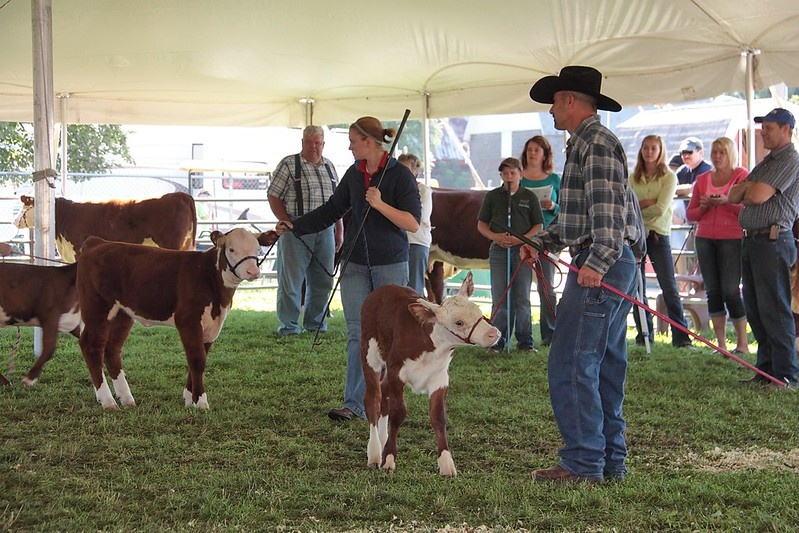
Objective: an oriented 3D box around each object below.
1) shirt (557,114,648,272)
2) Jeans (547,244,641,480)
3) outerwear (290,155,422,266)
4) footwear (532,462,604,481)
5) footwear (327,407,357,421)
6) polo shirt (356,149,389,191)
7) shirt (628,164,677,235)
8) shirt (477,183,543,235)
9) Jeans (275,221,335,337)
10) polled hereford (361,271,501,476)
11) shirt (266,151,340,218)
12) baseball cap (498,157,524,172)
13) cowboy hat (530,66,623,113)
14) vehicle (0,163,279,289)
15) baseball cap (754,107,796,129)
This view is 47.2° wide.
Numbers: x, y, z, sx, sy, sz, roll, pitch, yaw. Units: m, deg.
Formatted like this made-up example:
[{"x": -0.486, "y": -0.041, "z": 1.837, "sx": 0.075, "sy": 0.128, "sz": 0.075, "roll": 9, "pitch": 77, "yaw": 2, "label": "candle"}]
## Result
[{"x": 1.748, "y": -0.694, "z": 8.158, "sx": 0.718, "sy": 1.181, "sz": 1.320, "roll": -6, "pitch": 10, "yaw": -2, "label": "shirt"}, {"x": 1.639, "y": 0.941, "z": 7.894, "sx": 0.705, "sy": 1.729, "sz": 0.579, "roll": 2, "pitch": 13, "yaw": 9, "label": "Jeans"}, {"x": -0.358, "y": -0.564, "z": 9.073, "sx": 1.415, "sy": 1.081, "sz": 0.739, "roll": 3, "pitch": 8, "yaw": 23, "label": "outerwear"}, {"x": 1.447, "y": 1.715, "z": 7.860, "sx": 0.572, "sy": 0.165, "sz": 0.206, "roll": 2, "pitch": -10, "yaw": 15, "label": "footwear"}, {"x": -0.560, "y": 1.442, "z": 9.062, "sx": 0.244, "sy": 0.106, "sz": 0.121, "roll": 14, "pitch": -11, "yaw": -14, "label": "footwear"}, {"x": -0.261, "y": -0.935, "z": 8.848, "sx": 0.370, "sy": 0.331, "sz": 0.119, "roll": 9, "pitch": 15, "yaw": 34, "label": "polo shirt"}, {"x": 3.205, "y": -0.820, "z": 11.671, "sx": 0.513, "sy": 0.892, "sz": 0.673, "roll": -5, "pitch": 10, "yaw": -40, "label": "shirt"}, {"x": 1.375, "y": -0.687, "z": 11.072, "sx": 0.770, "sy": 0.592, "sz": 0.367, "roll": 0, "pitch": -4, "yaw": 9, "label": "shirt"}, {"x": -1.254, "y": 0.099, "z": 12.524, "sx": 0.775, "sy": 1.733, "sz": 0.522, "roll": -9, "pitch": 28, "yaw": -27, "label": "Jeans"}, {"x": 0.177, "y": 0.999, "z": 8.249, "sx": 1.249, "sy": 1.513, "sz": 0.826, "roll": 3, "pitch": 13, "yaw": 11, "label": "polled hereford"}, {"x": -1.193, "y": -1.003, "z": 12.201, "sx": 1.061, "sy": 0.980, "sz": 0.586, "roll": -1, "pitch": 4, "yaw": -38, "label": "shirt"}, {"x": 1.348, "y": -1.230, "z": 11.113, "sx": 0.251, "sy": 0.173, "sz": 0.344, "roll": 5, "pitch": 13, "yaw": 21, "label": "baseball cap"}, {"x": 1.544, "y": -1.559, "z": 8.010, "sx": 0.597, "sy": 0.226, "sz": 0.465, "roll": 18, "pitch": 0, "yaw": -4, "label": "cowboy hat"}, {"x": -3.454, "y": -0.764, "z": 13.464, "sx": 4.184, "sy": 2.074, "sz": 1.175, "roll": 2, "pitch": -4, "yaw": 15, "label": "vehicle"}, {"x": 4.082, "y": -1.615, "z": 9.969, "sx": 0.373, "sy": 0.141, "sz": 0.242, "roll": 6, "pitch": 6, "yaw": 20, "label": "baseball cap"}]
